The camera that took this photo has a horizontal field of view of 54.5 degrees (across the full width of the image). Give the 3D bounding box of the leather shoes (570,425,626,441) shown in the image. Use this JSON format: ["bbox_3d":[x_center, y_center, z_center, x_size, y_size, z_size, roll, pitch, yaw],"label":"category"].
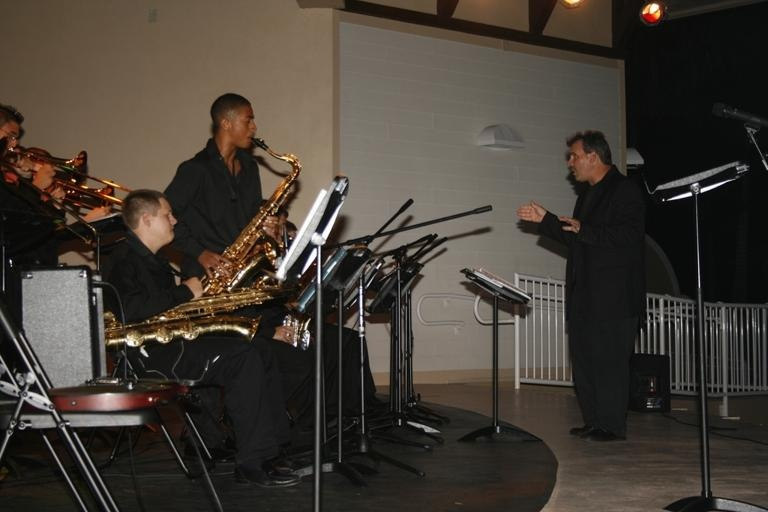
[{"bbox_3d":[1.891,1.571,6.576,0.458,0.129,0.159,-1,-2,22],"label":"leather shoes"}]

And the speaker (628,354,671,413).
[{"bbox_3d":[2.734,1.297,7.748,0.477,0.635,0.387,4,-8,-4],"label":"speaker"}]

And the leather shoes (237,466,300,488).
[{"bbox_3d":[-0.868,1.605,5.541,0.465,0.185,0.164,-3,-3,14],"label":"leather shoes"}]
